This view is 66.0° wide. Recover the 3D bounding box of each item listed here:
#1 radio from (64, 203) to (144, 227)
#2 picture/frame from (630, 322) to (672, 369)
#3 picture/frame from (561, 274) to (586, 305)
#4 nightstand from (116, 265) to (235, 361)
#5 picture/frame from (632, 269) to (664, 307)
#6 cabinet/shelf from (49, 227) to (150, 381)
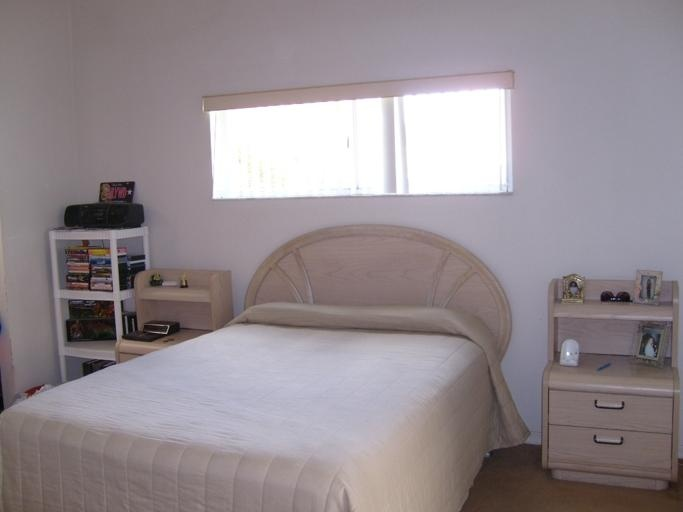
[{"bbox_3d":[-1.970,-0.342,4.492,0.610,0.208,0.429,3,5,8],"label":"radio"},{"bbox_3d":[1.926,0.558,3.265,0.237,0.310,0.034,5,-6,44],"label":"picture/frame"},{"bbox_3d":[1.434,0.224,3.380,0.158,0.230,0.162,1,-2,4],"label":"picture/frame"},{"bbox_3d":[-1.334,0.360,4.277,0.895,0.939,0.682,1,4,19],"label":"nightstand"},{"bbox_3d":[1.911,0.195,3.286,0.144,0.212,0.023,5,1,43],"label":"picture/frame"},{"bbox_3d":[-2.068,0.288,4.578,0.680,1.641,0.577,-1,3,14],"label":"cabinet/shelf"}]
